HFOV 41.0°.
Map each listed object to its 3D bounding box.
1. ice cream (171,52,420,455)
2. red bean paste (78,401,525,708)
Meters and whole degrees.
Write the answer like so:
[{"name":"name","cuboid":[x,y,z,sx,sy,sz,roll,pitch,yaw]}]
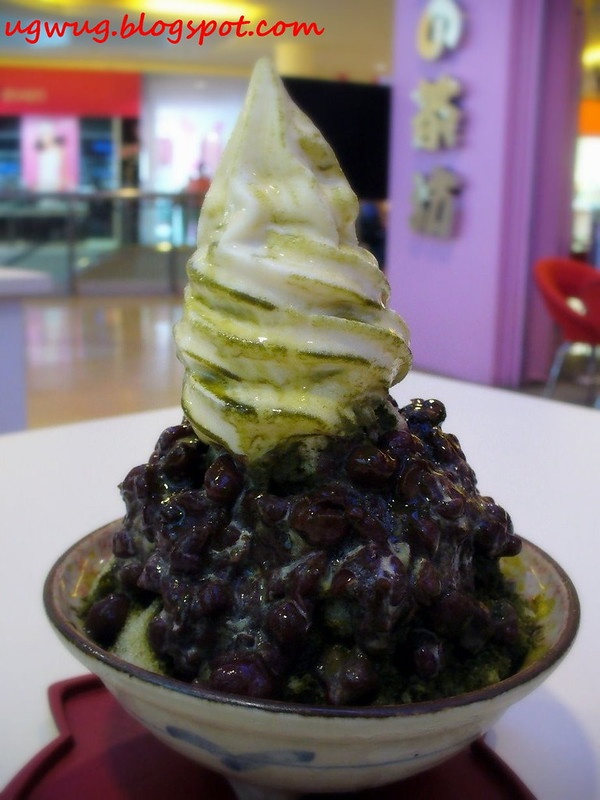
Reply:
[{"name":"ice cream","cuboid":[-0.002,-0.109,0.559,0.169,0.265,0.180,-2,16,-8]},{"name":"red bean paste","cuboid":[-0.003,0.106,0.491,0.233,0.102,0.193,9,24,20]}]
